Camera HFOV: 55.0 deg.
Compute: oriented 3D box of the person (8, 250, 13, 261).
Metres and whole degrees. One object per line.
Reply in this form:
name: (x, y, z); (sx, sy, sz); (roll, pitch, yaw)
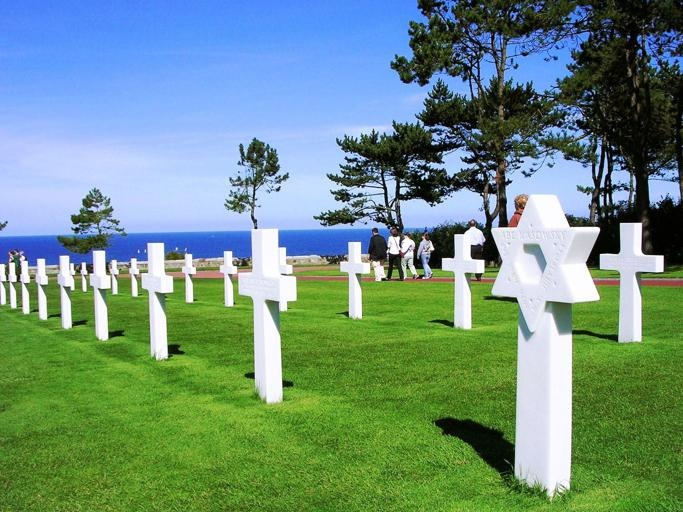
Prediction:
person: (-13.594, -0.052, 27.015); (0.147, 0.477, 1.428); (-6, 11, -25)
